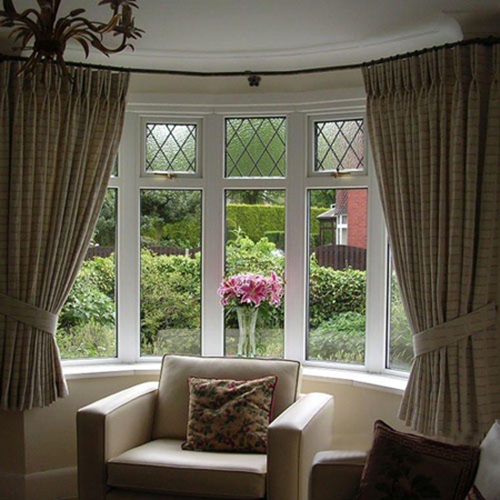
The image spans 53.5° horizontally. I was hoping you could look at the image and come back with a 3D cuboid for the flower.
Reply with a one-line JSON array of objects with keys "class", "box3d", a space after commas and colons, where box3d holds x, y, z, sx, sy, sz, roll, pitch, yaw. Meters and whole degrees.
[{"class": "flower", "box3d": [0.046, 0.404, 3.518, 0.463, 0.706, 0.506, -1, -3, 32]}]
